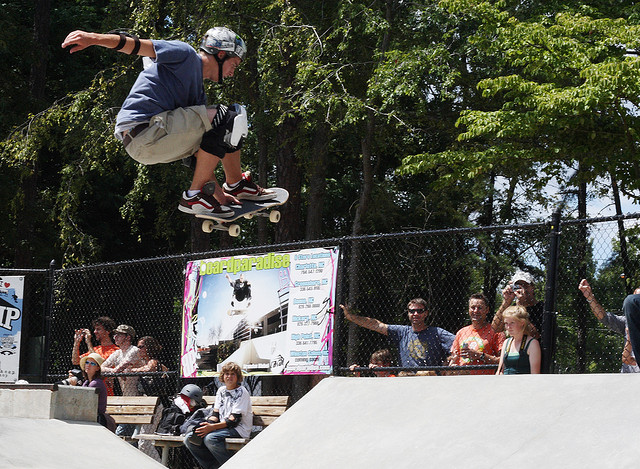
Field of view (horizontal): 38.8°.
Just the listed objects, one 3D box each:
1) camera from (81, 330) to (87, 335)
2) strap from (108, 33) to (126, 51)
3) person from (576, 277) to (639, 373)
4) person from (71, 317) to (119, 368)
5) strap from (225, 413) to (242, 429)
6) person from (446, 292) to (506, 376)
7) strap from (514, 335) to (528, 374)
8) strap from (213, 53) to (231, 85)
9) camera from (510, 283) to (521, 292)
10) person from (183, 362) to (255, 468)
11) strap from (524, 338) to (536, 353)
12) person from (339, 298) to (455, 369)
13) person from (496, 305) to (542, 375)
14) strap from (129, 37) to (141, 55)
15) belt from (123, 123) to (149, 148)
[{"bbox_3d":[-4.108,1.694,15.774,0.086,0.078,0.078,5,-6,-21],"label":"camera"},{"bbox_3d":[-2.795,-2.715,12.681,0.208,0.247,0.101,2,-5,10],"label":"strap"},{"bbox_3d":[4.244,1.334,13.441,0.815,1.443,3.782,1,-6,16],"label":"person"},{"bbox_3d":[-3.852,1.902,15.902,0.600,0.739,0.580,10,7,16],"label":"person"},{"bbox_3d":[-1.311,2.826,13.813,0.244,0.219,0.038,4,-5,-12],"label":"strap"},{"bbox_3d":[2.315,1.482,13.498,0.843,1.208,0.682,2,-5,11],"label":"person"},{"bbox_3d":[2.797,1.554,12.611,0.082,0.761,0.086,7,-17,31],"label":"strap"},{"bbox_3d":[-1.468,-2.440,13.242,0.237,0.389,0.270,5,-6,-26],"label":"strap"},{"bbox_3d":[2.900,0.780,13.510,0.139,0.134,0.314,2,-5,11],"label":"camera"},{"bbox_3d":[-1.517,2.732,13.744,0.966,1.689,0.761,8,-44,-14],"label":"person"},{"bbox_3d":[2.899,1.536,12.522,0.062,0.239,0.231,21,18,14],"label":"strap"},{"bbox_3d":[1.403,1.817,16.502,1.732,1.265,0.636,-11,-34,13],"label":"person"},{"bbox_3d":[2.789,1.462,12.639,0.608,0.950,0.285,1,-5,14],"label":"person"},{"bbox_3d":[-2.599,-2.660,12.811,0.207,0.208,0.150,-15,23,-42],"label":"strap"},{"bbox_3d":[-2.660,-1.457,13.007,0.318,0.074,0.307,-32,18,29],"label":"belt"}]
